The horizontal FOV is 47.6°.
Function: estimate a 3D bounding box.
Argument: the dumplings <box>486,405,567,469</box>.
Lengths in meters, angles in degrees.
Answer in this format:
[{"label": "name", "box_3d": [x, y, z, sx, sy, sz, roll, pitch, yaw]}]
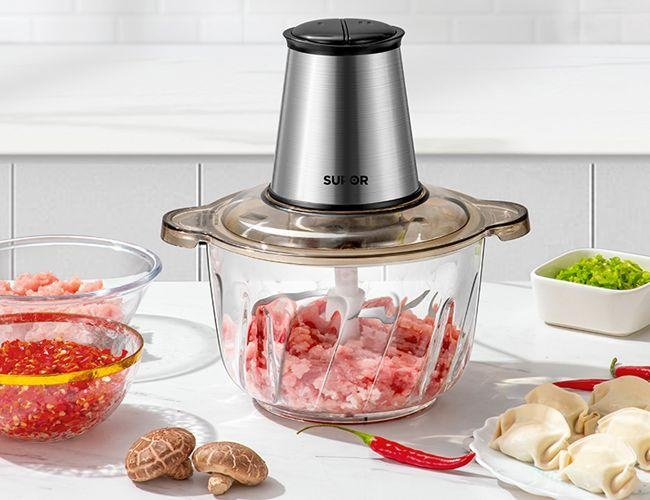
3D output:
[{"label": "dumplings", "box_3d": [0.214, 0.189, 0.756, 0.074, 0.022, 0.071, 7, 22, 23]}]

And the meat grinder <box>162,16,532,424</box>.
[{"label": "meat grinder", "box_3d": [0.019, -0.025, 0.808, 0.395, 0.448, 0.194, -1, 16, 11]}]

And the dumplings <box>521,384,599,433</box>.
[{"label": "dumplings", "box_3d": [0.255, 0.174, 0.808, 0.055, 0.017, 0.065, -6, 18, -35]}]

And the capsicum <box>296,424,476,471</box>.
[{"label": "capsicum", "box_3d": [0.064, 0.210, 0.793, 0.199, 0.027, 0.044, 2, 12, 20]}]

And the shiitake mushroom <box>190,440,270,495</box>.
[{"label": "shiitake mushroom", "box_3d": [-0.092, 0.206, 0.718, 0.081, 0.030, 0.061, 11, -8, -2]}]

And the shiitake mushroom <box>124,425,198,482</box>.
[{"label": "shiitake mushroom", "box_3d": [-0.164, 0.207, 0.738, 0.065, 0.051, 0.044, -10, 16, -29]}]

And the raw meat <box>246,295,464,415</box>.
[{"label": "raw meat", "box_3d": [0.021, 0.101, 0.801, 0.209, 0.056, 0.172, 0, -2, -4]}]
